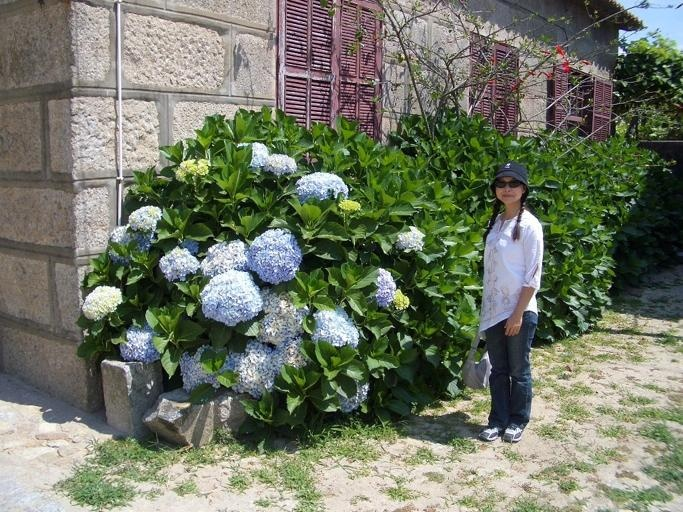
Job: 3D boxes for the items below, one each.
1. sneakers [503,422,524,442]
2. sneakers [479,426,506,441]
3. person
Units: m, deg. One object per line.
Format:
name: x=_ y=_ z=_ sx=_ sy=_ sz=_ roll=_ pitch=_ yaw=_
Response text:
sneakers: x=1.251 y=1.283 z=3.867 sx=0.105 sy=0.092 sz=0.159 roll=9 pitch=15 yaw=36
sneakers: x=1.106 y=1.288 z=3.904 sx=0.078 sy=0.088 sz=0.217 roll=-6 pitch=-7 yaw=44
person: x=1.214 y=0.333 z=3.859 sx=0.391 sy=1.960 sz=0.486 roll=4 pitch=12 yaw=18
